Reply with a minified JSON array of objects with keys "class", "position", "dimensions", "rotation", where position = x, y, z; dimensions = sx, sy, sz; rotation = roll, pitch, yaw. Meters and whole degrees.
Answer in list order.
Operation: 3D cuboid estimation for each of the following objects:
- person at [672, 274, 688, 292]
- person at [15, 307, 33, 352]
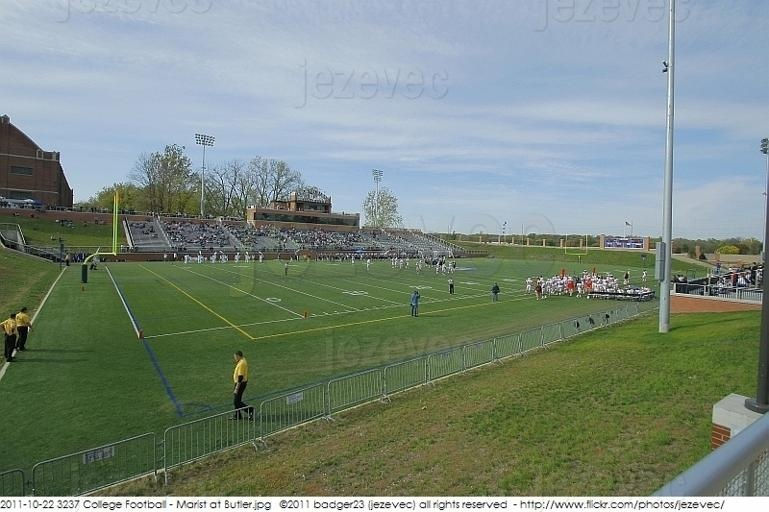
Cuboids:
[{"class":"person","position":[19.899,1.836,34.755],"dimensions":[1.119,1.490,0.940],"rotation":[-6,8,-45]},{"class":"person","position":[-14.227,2.793,20.115],"dimensions":[0.572,1.632,1.518],"rotation":[-12,15,-28]}]
